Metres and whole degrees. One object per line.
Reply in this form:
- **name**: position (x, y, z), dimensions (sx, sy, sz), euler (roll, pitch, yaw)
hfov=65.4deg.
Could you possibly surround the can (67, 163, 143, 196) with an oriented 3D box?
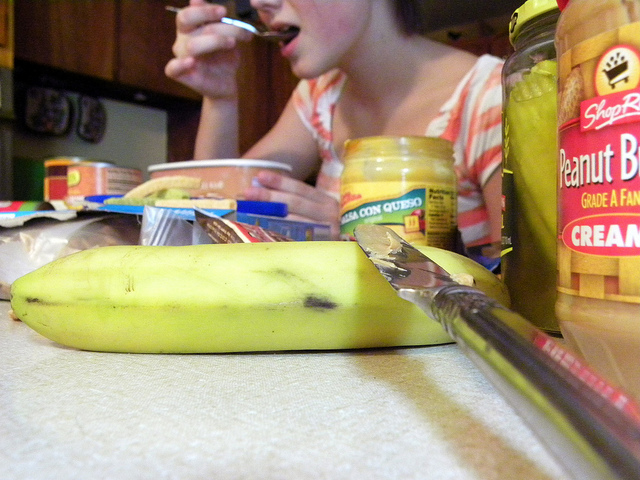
- **can**: position (-0.387, -0.104, 0.930), dimensions (0.089, 0.058, 0.121), euler (-3, 0, 7)

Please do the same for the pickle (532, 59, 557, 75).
- **pickle**: position (0.179, -0.137, 0.394), dimensions (0.022, 0.013, 0.004), euler (11, 2, 43)
